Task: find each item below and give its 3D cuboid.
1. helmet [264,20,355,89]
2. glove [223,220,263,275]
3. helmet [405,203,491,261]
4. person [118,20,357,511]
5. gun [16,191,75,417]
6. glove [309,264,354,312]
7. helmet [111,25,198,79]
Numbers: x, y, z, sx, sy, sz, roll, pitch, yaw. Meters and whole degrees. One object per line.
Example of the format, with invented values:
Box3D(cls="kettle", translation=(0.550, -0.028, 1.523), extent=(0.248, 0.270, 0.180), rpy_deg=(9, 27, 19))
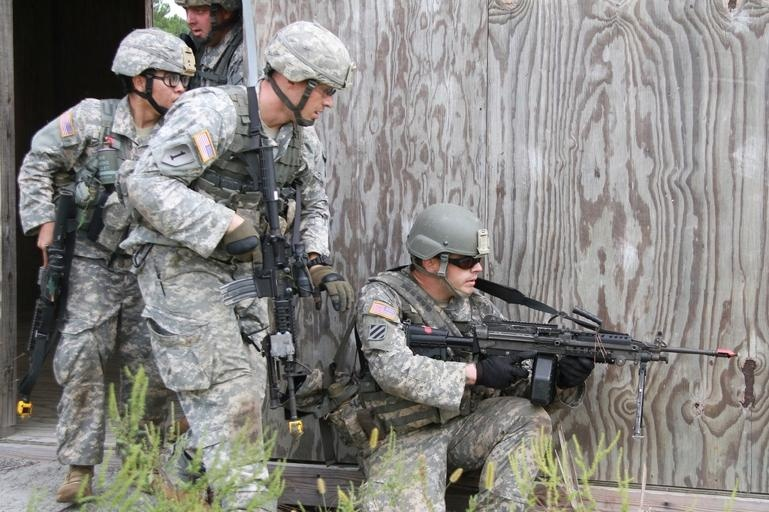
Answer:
Box3D(cls="helmet", translation=(-0.446, -1.194, 5.125), extent=(0.551, 0.424, 0.425), rpy_deg=(21, 13, -1))
Box3D(cls="glove", translation=(-0.822, -0.084, 5.003), extent=(0.177, 0.245, 0.266), rpy_deg=(-13, 39, -14))
Box3D(cls="helmet", translation=(0.419, -0.135, 5.482), extent=(0.422, 0.335, 0.338), rpy_deg=(32, 22, 13))
Box3D(cls="person", translation=(-0.874, 0.025, 4.993), extent=(1.293, 2.879, 0.870), rpy_deg=(4, -4, -22))
Box3D(cls="gun", translation=(-2.478, 0.388, 6.205), extent=(0.189, 1.823, 0.425), rpy_deg=(10, -5, -13))
Box3D(cls="glove", translation=(-0.324, 0.211, 5.419), extent=(0.210, 0.177, 0.328), rpy_deg=(-14, 29, -25))
Box3D(cls="helmet", translation=(-1.604, -1.410, 5.899), extent=(0.584, 0.404, 0.553), rpy_deg=(3, 11, -38))
